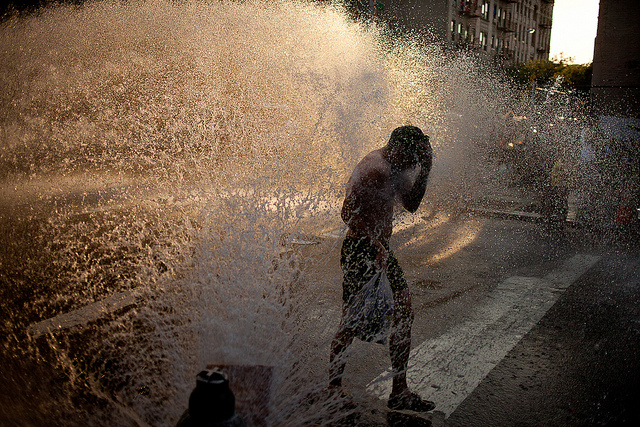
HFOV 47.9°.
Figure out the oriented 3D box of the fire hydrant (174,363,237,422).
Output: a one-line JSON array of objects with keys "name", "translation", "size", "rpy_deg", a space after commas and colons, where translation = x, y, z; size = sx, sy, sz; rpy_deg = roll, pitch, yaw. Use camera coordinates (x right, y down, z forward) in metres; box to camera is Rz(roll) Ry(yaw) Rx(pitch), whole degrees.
[{"name": "fire hydrant", "translation": [-1.795, 3.018, 12.030], "size": [0.760, 0.940, 0.814], "rpy_deg": [8, 2, 26]}]
